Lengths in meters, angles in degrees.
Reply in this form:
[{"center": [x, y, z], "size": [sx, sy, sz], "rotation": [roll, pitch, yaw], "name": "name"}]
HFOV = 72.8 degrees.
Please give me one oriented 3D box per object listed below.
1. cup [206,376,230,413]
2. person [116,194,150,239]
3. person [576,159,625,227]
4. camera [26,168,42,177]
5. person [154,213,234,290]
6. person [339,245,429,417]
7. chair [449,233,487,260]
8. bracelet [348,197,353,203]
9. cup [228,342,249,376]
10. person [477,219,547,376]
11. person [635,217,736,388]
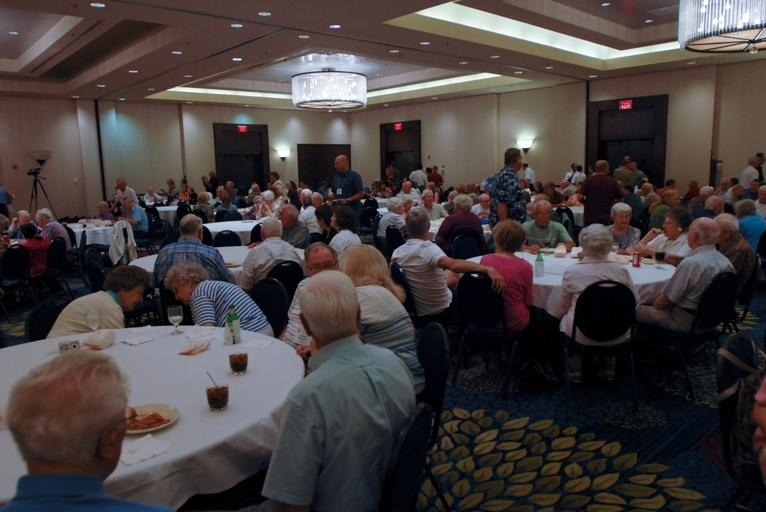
[{"center": [-0.904, 0.723, 2.738], "size": [0.126, 0.216, 0.121], "rotation": [-1, 4, 0], "name": "cup"}, {"center": [-4.671, -0.714, 9.565], "size": [0.523, 0.741, 0.462], "rotation": [5, 14, 42], "name": "person"}, {"center": [3.548, -0.872, 8.607], "size": [0.596, 1.638, 0.512], "rotation": [1, 41, 15], "name": "person"}, {"center": [-9.314, -2.240, 13.858], "size": [0.380, 0.290, 0.159], "rotation": [0, 0, 27], "name": "camera"}, {"center": [-1.864, -0.020, 5.055], "size": [0.768, 0.730, 0.427], "rotation": [3, 11, 5], "name": "person"}, {"center": [-0.058, 0.451, 3.534], "size": [0.464, 1.094, 0.604], "rotation": [-10, 5, -35], "name": "person"}, {"center": [1.006, -0.146, 6.437], "size": [0.320, 0.492, 0.347], "rotation": [0, 8, -5], "name": "chair"}, {"center": [-0.568, -0.961, 8.876], "size": [0.076, 0.100, 0.273], "rotation": [-2, -3, -4], "name": "bracelet"}, {"center": [-0.871, 0.621, 3.081], "size": [0.118, 0.119, 0.137], "rotation": [0, -4, 4], "name": "cup"}, {"center": [1.258, 0.314, 4.747], "size": [0.420, 1.356, 1.133], "rotation": [5, 15, 31], "name": "person"}, {"center": [2.549, 0.157, 4.390], "size": [0.634, 0.910, 0.497], "rotation": [8, 16, 39], "name": "person"}]
